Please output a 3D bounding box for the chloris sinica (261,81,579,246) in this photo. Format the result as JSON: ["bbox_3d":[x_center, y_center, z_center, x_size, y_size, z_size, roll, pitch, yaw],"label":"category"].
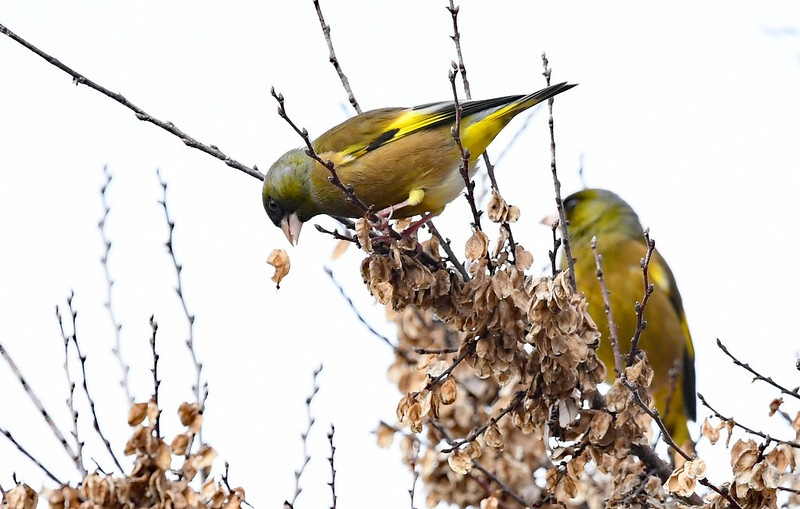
[{"bbox_3d":[-0.043,-0.612,7.894,1.976,0.935,0.398,-25,-33,15],"label":"chloris sinica"}]
